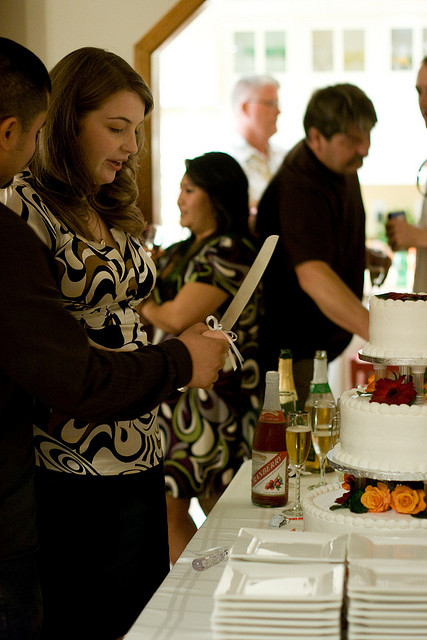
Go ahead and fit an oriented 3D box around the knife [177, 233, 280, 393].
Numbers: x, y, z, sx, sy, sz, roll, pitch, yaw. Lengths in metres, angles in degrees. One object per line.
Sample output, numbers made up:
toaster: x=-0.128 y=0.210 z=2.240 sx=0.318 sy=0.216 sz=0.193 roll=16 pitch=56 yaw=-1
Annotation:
knife: x=0.034 y=-0.033 z=1.728 sx=0.094 sy=0.663 sz=0.054 roll=28 pitch=-4 yaw=14
